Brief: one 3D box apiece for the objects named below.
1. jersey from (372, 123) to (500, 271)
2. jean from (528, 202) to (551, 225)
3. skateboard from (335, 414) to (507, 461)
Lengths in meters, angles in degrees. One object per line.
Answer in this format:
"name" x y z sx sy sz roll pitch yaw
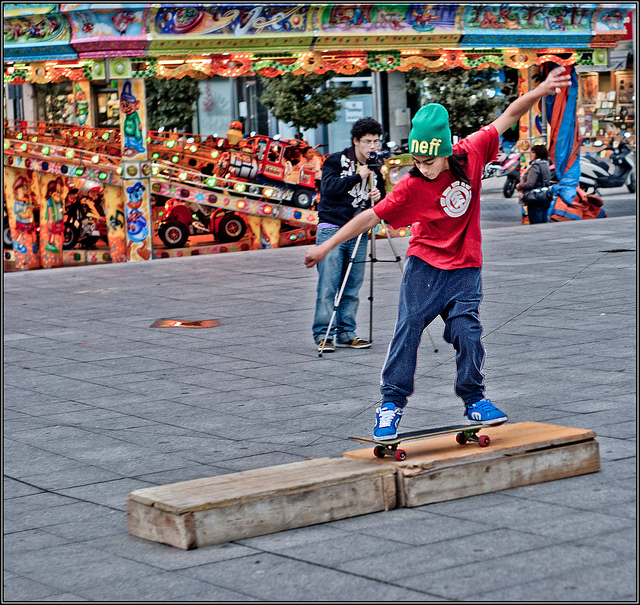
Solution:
"jersey" 0.611 -0.536 4.527 0.704 0.729 0.331 -2 13 -6
"jean" 3.945 -1.605 16.098 0.351 0.390 0.688 2 11 13
"skateboard" 0.643 0.731 4.505 1.211 0.147 0.295 -2 4 -21
